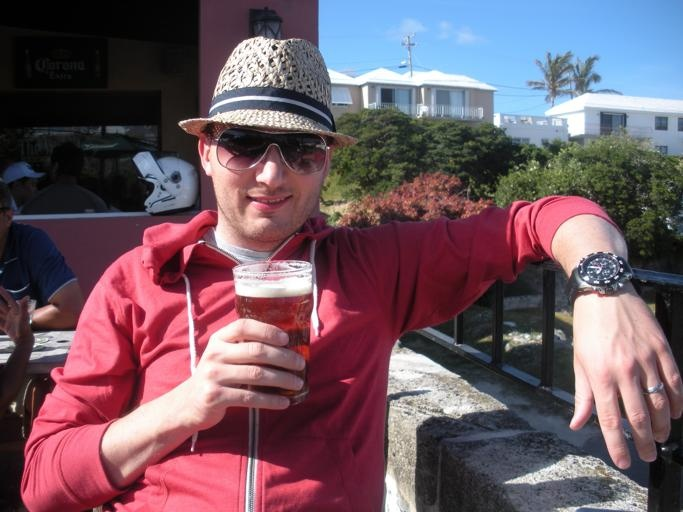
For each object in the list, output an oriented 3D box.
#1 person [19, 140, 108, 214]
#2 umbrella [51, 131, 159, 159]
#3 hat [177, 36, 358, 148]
[{"bbox_3d":[-3.409,-0.979,7.765,0.936,0.886,0.477,-1,9,-20],"label":"person"},{"bbox_3d":[-3.356,-1.549,8.743,0.746,0.263,0.606,-1,4,-25],"label":"umbrella"},{"bbox_3d":[-0.284,-0.673,2.550,0.446,0.293,0.502,4,0,0],"label":"hat"}]
